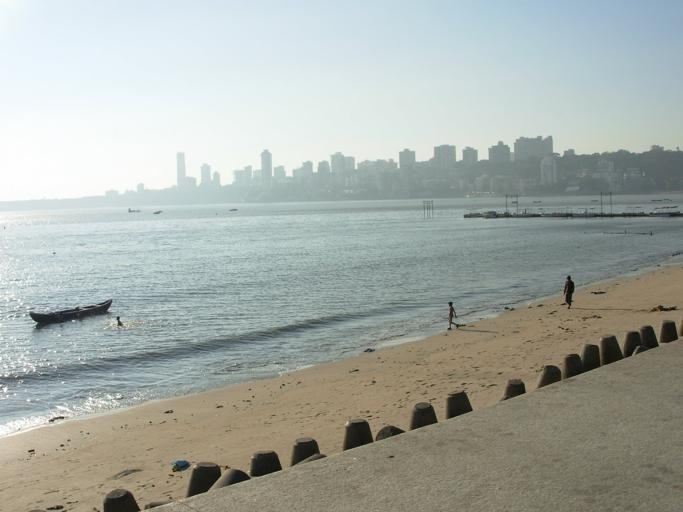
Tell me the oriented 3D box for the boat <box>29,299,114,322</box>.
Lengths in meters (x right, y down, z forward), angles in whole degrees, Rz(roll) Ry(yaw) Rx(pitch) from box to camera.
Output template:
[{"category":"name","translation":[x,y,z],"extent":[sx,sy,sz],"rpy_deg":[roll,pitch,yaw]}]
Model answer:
[{"category":"boat","translation":[-16.173,3.393,41.564],"extent":[1.353,1.458,4.517],"rpy_deg":[-12,1,38]}]
